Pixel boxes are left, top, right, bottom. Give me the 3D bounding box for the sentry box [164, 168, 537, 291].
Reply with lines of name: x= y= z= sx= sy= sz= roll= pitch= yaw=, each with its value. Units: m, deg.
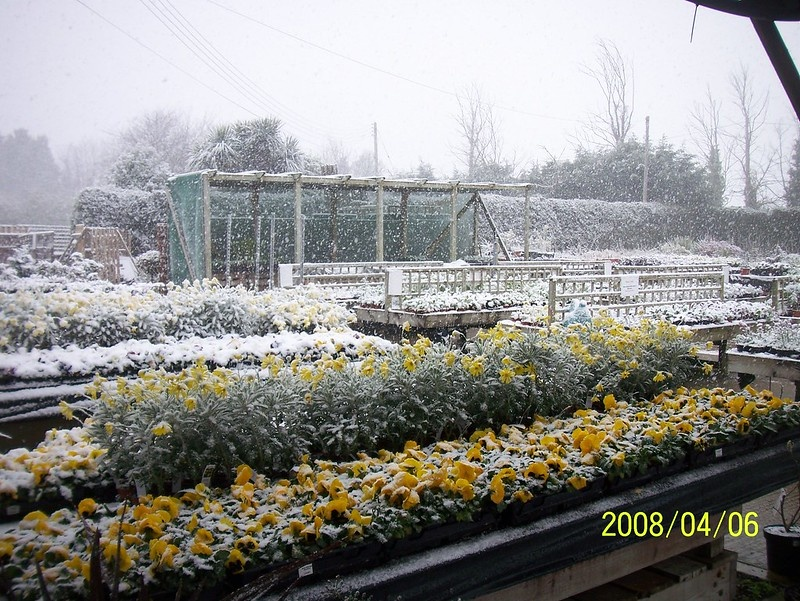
sentry box: x=-0.634 y=-1.271 z=13.128 sx=5.976 sy=2.509 sz=1.909 roll=-5 pitch=5 yaw=-26
